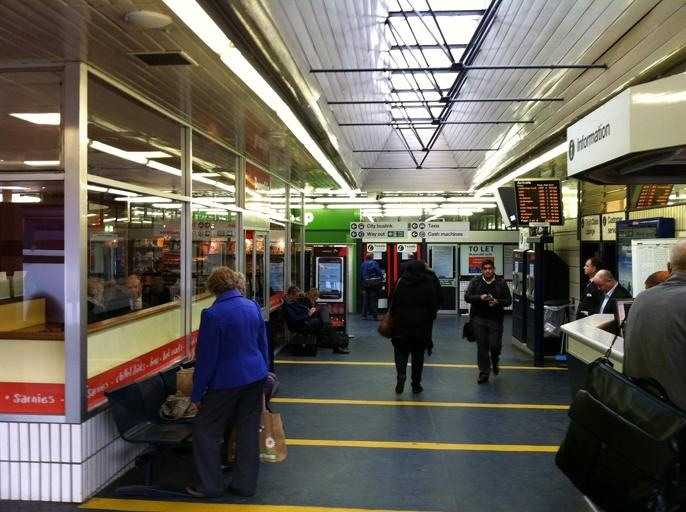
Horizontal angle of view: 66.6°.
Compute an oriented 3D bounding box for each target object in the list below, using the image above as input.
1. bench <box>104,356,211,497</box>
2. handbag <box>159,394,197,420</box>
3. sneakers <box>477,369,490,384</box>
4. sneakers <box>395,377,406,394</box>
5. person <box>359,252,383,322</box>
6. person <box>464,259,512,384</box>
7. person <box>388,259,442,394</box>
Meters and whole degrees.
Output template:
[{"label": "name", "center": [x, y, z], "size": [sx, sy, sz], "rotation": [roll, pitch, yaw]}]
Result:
[{"label": "bench", "center": [-1.722, 1.684, 5.479], "size": [0.689, 0.870, 1.982], "rotation": [0, -5, 0]}, {"label": "handbag", "center": [-1.622, 1.483, 5.191], "size": [0.319, 0.118, 0.352], "rotation": [4, -1, -2]}, {"label": "sneakers", "center": [2.223, 1.881, 8.200], "size": [0.115, 0.197, 0.297], "rotation": [-3, -12, 27]}, {"label": "sneakers", "center": [0.840, 1.840, 7.536], "size": [0.115, 0.283, 0.123], "rotation": [7, 1, 5]}, {"label": "person", "center": [0.864, 0.857, 15.003], "size": [0.577, 1.879, 1.244], "rotation": [0, 2, 4]}, {"label": "person", "center": [2.295, 1.013, 8.275], "size": [0.677, 1.931, 0.676], "rotation": [1, 2, 14]}, {"label": "person", "center": [1.027, 1.021, 7.532], "size": [0.754, 1.945, 0.570], "rotation": [0, 2, -17]}]
